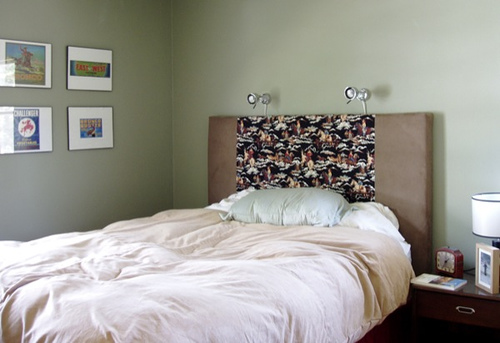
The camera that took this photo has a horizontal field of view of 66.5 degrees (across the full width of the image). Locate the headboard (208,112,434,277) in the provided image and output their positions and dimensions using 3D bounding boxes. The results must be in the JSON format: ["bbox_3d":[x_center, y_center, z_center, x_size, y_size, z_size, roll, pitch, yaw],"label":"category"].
[{"bbox_3d":[0.674,0.179,3.174,1.373,0.937,0.118,1,3,34],"label":"headboard"}]

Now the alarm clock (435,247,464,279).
[{"bbox_3d":[1.541,0.700,2.937,0.104,0.224,0.187,-3,3,-29],"label":"alarm clock"}]

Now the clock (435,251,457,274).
[{"bbox_3d":[1.534,0.692,2.930,0.072,0.184,0.193,3,-3,-20],"label":"clock"}]
